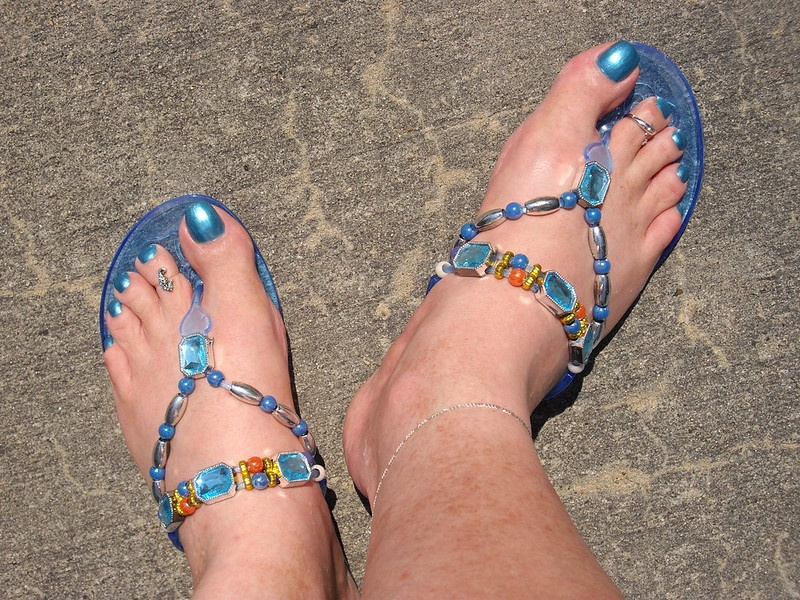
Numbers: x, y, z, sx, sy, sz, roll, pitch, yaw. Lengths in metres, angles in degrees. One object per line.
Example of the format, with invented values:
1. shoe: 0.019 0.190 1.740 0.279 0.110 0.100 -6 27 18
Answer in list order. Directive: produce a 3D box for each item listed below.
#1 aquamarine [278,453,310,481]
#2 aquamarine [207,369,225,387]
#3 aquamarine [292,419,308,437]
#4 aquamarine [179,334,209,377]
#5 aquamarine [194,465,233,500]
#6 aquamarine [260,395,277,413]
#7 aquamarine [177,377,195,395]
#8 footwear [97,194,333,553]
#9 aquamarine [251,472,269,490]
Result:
1. aquamarine: -0.248 0.400 2.302 0.070 0.019 0.064 -26 80 -38
2. aquamarine: -0.445 0.192 2.363 0.040 0.019 0.040 -1 80 7
3. aquamarine: -0.240 0.318 2.379 0.030 0.032 0.040 -3 39 -8
4. aquamarine: -0.499 0.138 2.377 0.068 0.025 0.095 0 79 0
5. aquamarine: -0.430 0.432 2.273 0.094 0.020 0.073 -19 78 3
6. aquamarine: -0.316 0.255 2.355 0.042 0.020 0.038 39 87 12
7. aquamarine: -0.514 0.210 2.365 0.033 0.042 0.042 11 22 22
8. footwear: -0.447 0.318 2.470 0.395 0.261 1.128 -17 93 -2
9. aquamarine: -0.323 0.424 2.264 0.035 0.028 0.036 -4 42 -2
